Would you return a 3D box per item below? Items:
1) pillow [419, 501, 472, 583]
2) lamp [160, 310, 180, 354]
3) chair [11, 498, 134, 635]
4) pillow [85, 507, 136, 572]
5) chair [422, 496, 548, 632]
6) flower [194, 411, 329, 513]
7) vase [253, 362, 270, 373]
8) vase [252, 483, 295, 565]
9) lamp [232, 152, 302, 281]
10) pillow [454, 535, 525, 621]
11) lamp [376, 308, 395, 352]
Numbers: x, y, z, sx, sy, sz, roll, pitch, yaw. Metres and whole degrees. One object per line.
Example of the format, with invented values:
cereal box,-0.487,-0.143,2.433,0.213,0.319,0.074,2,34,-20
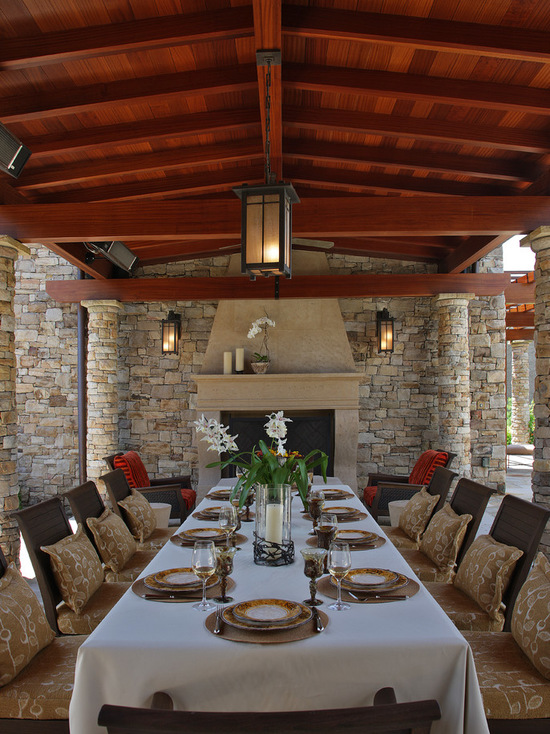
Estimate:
pillow,0.963,0.988,3.248,0.152,0.353,0.423,15,-4,1
lamp,-1.426,-0.512,8.273,0.190,0.599,0.329,-2,-4,34
chair,-0.936,0.912,2.859,0.586,0.635,0.723,-4,2,-7
pillow,-0.938,0.984,3.287,0.143,0.308,0.356,-16,8,1
chair,0.993,0.852,2.748,0.564,0.619,0.727,3,-4,0
flower,-0.014,0.466,2.940,0.633,0.441,0.772,1,5,-16
vase,-0.187,0.003,7.659,0.238,0.163,0.126,-1,-3,8
vase,-0.010,0.695,2.577,0.204,0.324,0.199,5,-4,-40
lamp,-0.037,-0.848,3.108,0.326,0.747,0.474,0,-3,1
pillow,0.958,0.939,2.564,0.143,0.263,0.391,12,-1,-4
lamp,1.564,-0.549,8.264,0.232,0.599,0.208,-1,-3,4
